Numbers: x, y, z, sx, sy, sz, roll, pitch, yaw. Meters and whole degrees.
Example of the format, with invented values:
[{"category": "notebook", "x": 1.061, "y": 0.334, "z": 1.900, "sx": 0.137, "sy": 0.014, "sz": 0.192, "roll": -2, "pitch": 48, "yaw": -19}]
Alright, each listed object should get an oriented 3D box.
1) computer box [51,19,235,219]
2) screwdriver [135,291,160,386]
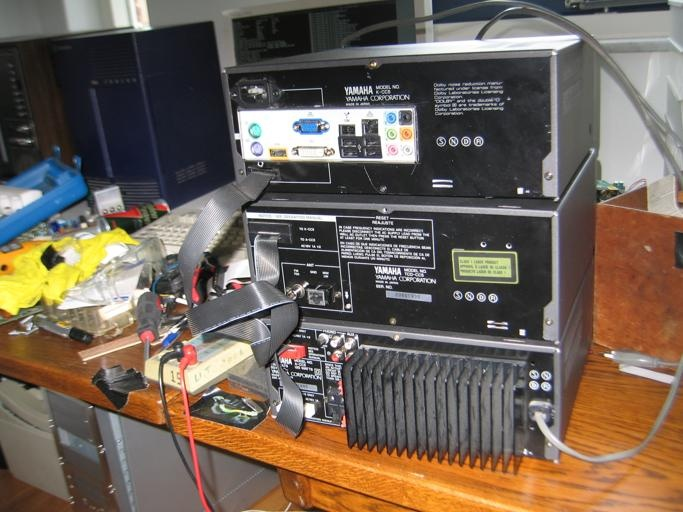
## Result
[{"category": "computer box", "x": -0.578, "y": -0.418, "z": 1.915, "sx": 0.475, "sy": 0.659, "sz": 0.418, "roll": 8, "pitch": 25, "yaw": 31}, {"category": "screwdriver", "x": -0.388, "y": 0.157, "z": 1.158, "sx": 0.037, "sy": 0.041, "sz": 0.170, "roll": -21, "pitch": 47, "yaw": 8}]
